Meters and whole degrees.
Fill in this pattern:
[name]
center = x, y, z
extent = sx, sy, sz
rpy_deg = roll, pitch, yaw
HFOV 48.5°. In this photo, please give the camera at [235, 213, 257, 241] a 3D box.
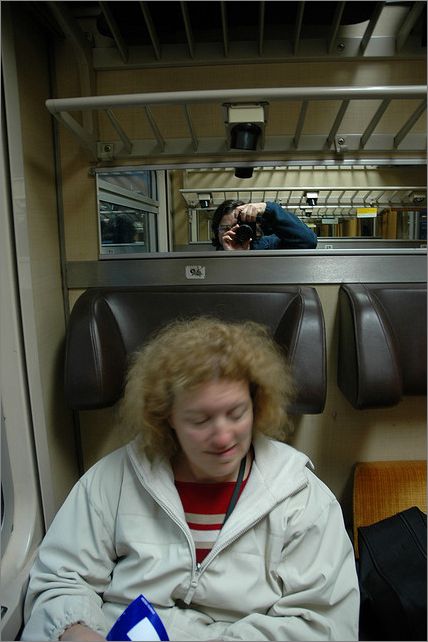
[camera]
center = 0.091, -0.251, 1.311
extent = 0.050, 0.078, 0.064
rpy_deg = 1, 16, 6
